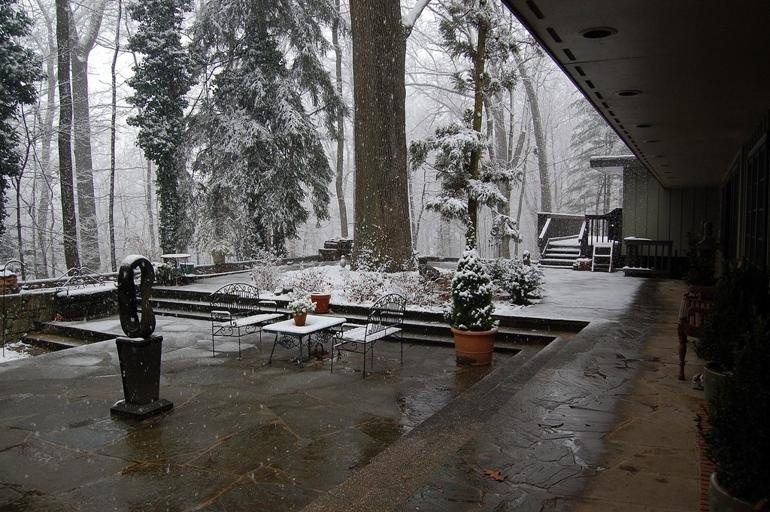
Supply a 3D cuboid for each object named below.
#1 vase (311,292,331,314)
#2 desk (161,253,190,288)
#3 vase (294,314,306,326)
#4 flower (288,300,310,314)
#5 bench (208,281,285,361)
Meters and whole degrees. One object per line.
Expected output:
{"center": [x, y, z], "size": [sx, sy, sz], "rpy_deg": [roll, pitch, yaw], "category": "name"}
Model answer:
{"center": [-1.692, 1.258, 13.895], "size": [0.527, 0.463, 0.538], "rpy_deg": [1, 6, 23], "category": "vase"}
{"center": [-7.547, 0.534, 18.232], "size": [1.127, 1.198, 1.140], "rpy_deg": [1, 4, 2], "category": "desk"}
{"center": [-1.805, 1.320, 10.694], "size": [0.239, 0.188, 0.244], "rpy_deg": [1, 4, 22], "category": "vase"}
{"center": [-1.785, 1.096, 10.714], "size": [0.335, 0.237, 0.323], "rpy_deg": [6, 15, 29], "category": "flower"}
{"center": [-3.562, 1.545, 13.438], "size": [0.872, 1.695, 2.662], "rpy_deg": [2, 3, 13], "category": "bench"}
